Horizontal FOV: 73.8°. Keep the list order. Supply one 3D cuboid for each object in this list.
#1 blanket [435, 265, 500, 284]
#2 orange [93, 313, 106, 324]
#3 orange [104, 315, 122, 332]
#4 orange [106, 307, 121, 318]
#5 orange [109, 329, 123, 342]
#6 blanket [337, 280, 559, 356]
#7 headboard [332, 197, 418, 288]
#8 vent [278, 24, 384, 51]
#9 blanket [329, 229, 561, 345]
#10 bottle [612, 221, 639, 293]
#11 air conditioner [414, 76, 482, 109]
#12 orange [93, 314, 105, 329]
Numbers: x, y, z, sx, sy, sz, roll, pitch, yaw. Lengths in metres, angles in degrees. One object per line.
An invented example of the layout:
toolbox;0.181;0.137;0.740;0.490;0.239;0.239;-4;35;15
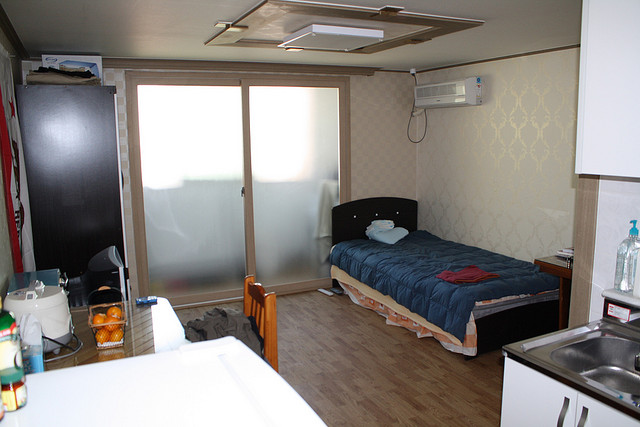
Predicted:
blanket;1.475;0.612;4.295;0.556;0.059;0.372;-8;15;-28
orange;-1.265;0.588;2.442;0.054;0.052;0.052;-18;22;-26
orange;-1.178;0.620;2.415;0.080;0.072;0.079;5;7;4
orange;-1.195;0.572;2.493;0.061;0.059;0.060;-20;-3;8
orange;-1.157;0.691;2.419;0.061;0.059;0.060;-1;6;-34
blanket;1.471;0.922;4.871;1.405;0.476;2.120;-14;4;-28
headboard;0.815;0.369;5.911;1.304;1.196;0.086;-3;-10;-17
vent;0.084;-1.545;3.775;0.768;0.112;0.617;-5;14;-17
blanket;1.148;0.640;4.614;1.008;0.401;1.541;-11;16;-34
bottle;1.745;0.245;2.425;0.097;0.407;0.116;8;17;35
air conditioner;1.692;-1.590;5.627;0.376;0.373;0.975;-11;16;-22
orange;-1.252;0.607;2.417;0.064;0.061;0.075;-5;14;-7
